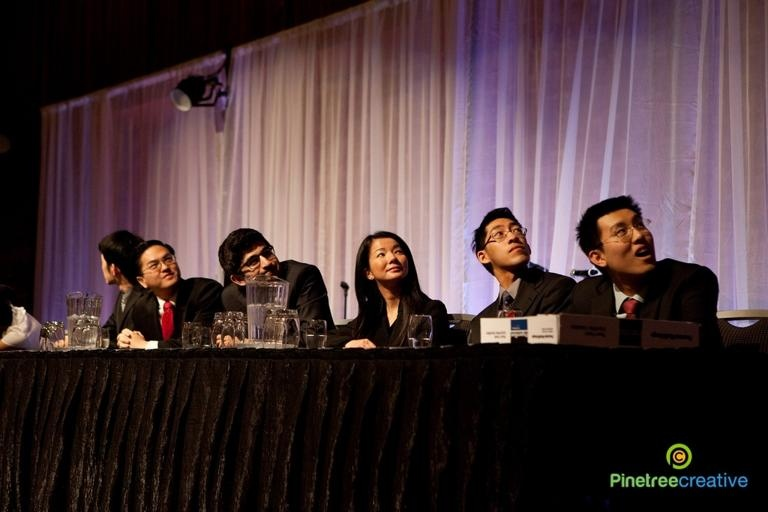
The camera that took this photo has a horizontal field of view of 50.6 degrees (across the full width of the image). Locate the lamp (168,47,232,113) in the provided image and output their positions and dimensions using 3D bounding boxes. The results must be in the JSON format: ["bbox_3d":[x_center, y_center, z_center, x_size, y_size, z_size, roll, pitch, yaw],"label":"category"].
[{"bbox_3d":[-1.540,-1.470,6.921,0.482,0.524,0.371,0,-6,-12],"label":"lamp"}]

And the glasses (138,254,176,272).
[{"bbox_3d":[-1.360,0.041,4.891,0.210,0.112,0.128,1,-6,-19],"label":"glasses"}]

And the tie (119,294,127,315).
[{"bbox_3d":[-1.773,0.321,5.566,0.036,0.129,0.103,8,35,-13],"label":"tie"}]

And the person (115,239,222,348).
[{"bbox_3d":[-1.297,0.241,4.951,0.544,0.649,0.746,-14,-12,-18],"label":"person"}]

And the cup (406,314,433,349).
[{"bbox_3d":[0.147,0.297,3.212,0.107,0.163,0.110,2,-10,0],"label":"cup"}]

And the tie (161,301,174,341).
[{"bbox_3d":[-1.283,0.368,4.819,0.068,0.227,0.158,1,-6,-16],"label":"tie"}]

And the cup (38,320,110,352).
[{"bbox_3d":[-1.520,0.409,4.053,0.190,0.159,0.150,6,-11,-27],"label":"cup"}]

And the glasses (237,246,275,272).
[{"bbox_3d":[-0.696,0.008,4.529,0.205,0.154,0.093,1,-6,-16],"label":"glasses"}]

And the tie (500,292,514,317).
[{"bbox_3d":[0.583,0.236,3.849,0.070,0.106,0.044,-1,-21,8],"label":"tie"}]
